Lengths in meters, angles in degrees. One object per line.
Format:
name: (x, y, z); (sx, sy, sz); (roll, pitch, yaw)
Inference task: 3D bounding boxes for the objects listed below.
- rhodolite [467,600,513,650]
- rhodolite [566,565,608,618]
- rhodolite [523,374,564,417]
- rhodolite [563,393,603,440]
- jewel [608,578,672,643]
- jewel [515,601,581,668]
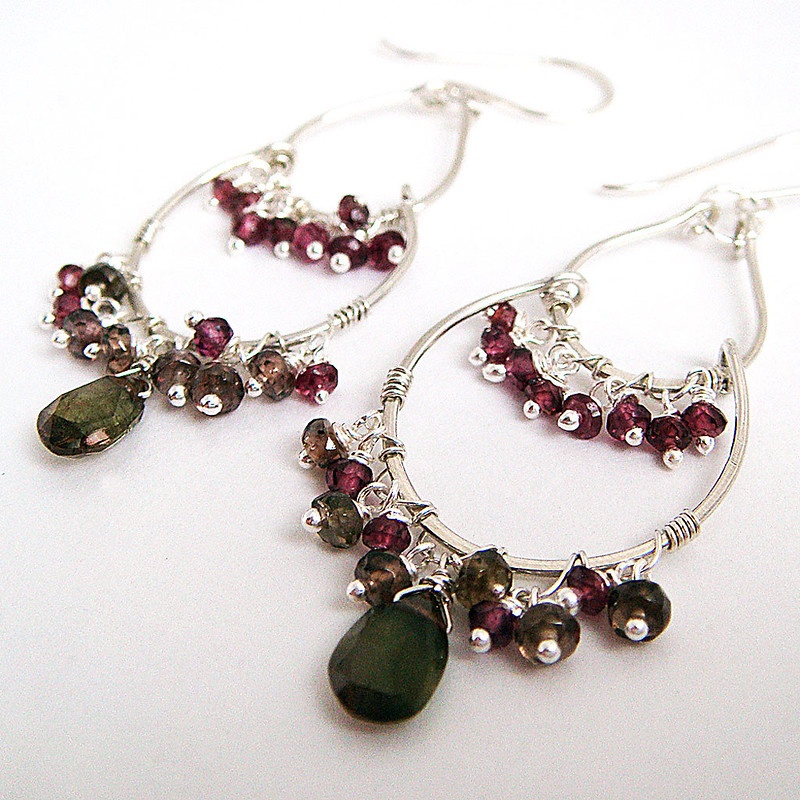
rhodolite: (0.165, 0.401, 1.744); (0.078, 0.034, 0.086); (36, 58, 19)
rhodolite: (0.353, 0.343, 1.765); (0.027, 0.097, 0.086); (-16, 49, 41)
rhodolite: (0.318, -0.010, 2.162); (0.095, 0.037, 0.077); (3, 75, 12)
rhodolite: (0.399, 0.026, 2.148); (0.101, 0.088, 0.051); (14, 35, 33)
jewel: (0.421, 0.373, 1.741); (0.101, 0.089, 0.105); (-25, 34, -22)
jewel: (0.258, 0.407, 1.701); (0.096, 0.097, 0.111); (20, 43, 41)
